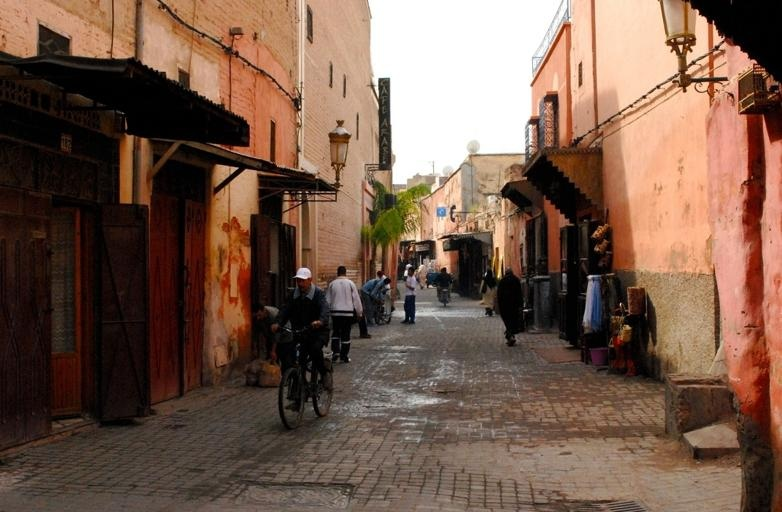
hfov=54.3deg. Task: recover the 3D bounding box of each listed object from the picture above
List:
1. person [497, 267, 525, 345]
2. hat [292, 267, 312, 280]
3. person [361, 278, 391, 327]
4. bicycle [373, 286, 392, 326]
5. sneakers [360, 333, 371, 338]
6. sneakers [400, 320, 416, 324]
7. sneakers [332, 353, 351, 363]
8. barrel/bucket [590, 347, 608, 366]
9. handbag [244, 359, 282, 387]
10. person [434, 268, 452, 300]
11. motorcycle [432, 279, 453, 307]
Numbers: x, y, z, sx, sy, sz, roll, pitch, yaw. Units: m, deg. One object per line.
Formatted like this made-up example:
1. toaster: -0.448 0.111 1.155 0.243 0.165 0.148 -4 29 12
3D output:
1. person: 2.961 1.289 19.065 0.630 1.832 1.121 0 5 8
2. hat: -1.308 0.241 11.577 0.190 0.155 0.279 0 -9 15
3. person: -0.477 1.461 23.813 0.758 0.589 1.260 -7 -32 0
4. bicycle: -0.281 1.722 25.054 0.493 0.752 1.191 -1 -5 4
5. sneakers: -0.695 2.167 20.897 0.265 0.132 0.108 -2 0 12
6. sneakers: 0.538 2.168 25.202 0.437 0.212 0.157 4 -2 29
7. sneakers: -1.069 2.146 16.207 0.156 0.213 0.454 1 1 -37
8. barrel/bucket: 4.065 1.948 14.894 0.289 0.252 0.310 -1 -8 0
9. handbag: -2.319 2.128 13.794 0.586 0.343 0.827 4 0 6
10. person: 2.377 1.212 34.946 0.843 0.947 1.434 0 -6 2
11. motorcycle: 2.433 1.647 35.282 0.642 0.983 1.645 0 5 3
